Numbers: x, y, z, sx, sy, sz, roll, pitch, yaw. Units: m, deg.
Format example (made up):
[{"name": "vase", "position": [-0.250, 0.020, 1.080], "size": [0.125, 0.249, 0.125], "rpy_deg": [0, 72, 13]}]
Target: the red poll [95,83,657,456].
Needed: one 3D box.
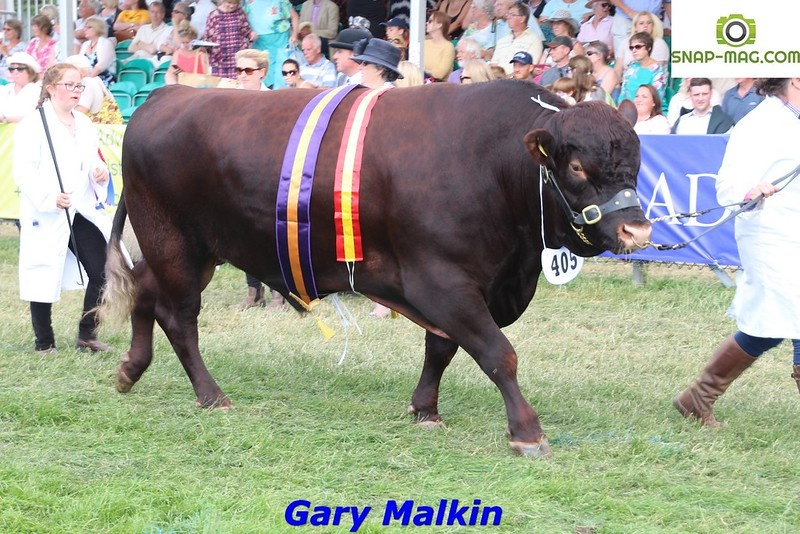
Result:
[{"name": "red poll", "position": [-0.220, 0.068, 6.973], "size": [3.222, 1.644, 1.061], "rpy_deg": [3, 2, 12]}]

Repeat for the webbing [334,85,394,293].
[{"name": "webbing", "position": [-0.281, -0.565, 6.665], "size": [0.247, 1.022, 0.364], "rpy_deg": [3, 17, -2]}]

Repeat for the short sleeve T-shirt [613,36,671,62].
[{"name": "short sleeve T-shirt", "position": [2.556, -2.270, 10.866], "size": [0.369, 0.250, 0.205], "rpy_deg": [-4, -19, 40]}]

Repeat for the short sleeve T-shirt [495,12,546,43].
[{"name": "short sleeve T-shirt", "position": [1.372, -2.668, 11.647], "size": [0.488, 0.377, 0.259], "rpy_deg": [-4, -6, 33]}]

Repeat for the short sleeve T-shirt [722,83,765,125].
[{"name": "short sleeve T-shirt", "position": [3.322, -1.551, 9.964], "size": [0.260, 0.394, 0.504], "rpy_deg": [9, -4, -43]}]

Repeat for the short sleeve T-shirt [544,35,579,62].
[{"name": "short sleeve T-shirt", "position": [1.670, -2.289, 10.973], "size": [0.373, 0.373, 0.258], "rpy_deg": [1, 6, -3]}]

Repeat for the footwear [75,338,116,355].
[{"name": "footwear", "position": [-2.384, 0.626, 8.143], "size": [0.348, 0.128, 0.106], "rpy_deg": [1, 2, -7]}]

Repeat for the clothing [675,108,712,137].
[{"name": "clothing", "position": [2.856, -1.383, 10.031], "size": [0.220, 0.315, 0.386], "rpy_deg": [15, -5, -44]}]

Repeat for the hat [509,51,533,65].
[{"name": "hat", "position": [1.291, -2.159, 10.783], "size": [0.165, 0.121, 0.238], "rpy_deg": [7, -9, 41]}]
